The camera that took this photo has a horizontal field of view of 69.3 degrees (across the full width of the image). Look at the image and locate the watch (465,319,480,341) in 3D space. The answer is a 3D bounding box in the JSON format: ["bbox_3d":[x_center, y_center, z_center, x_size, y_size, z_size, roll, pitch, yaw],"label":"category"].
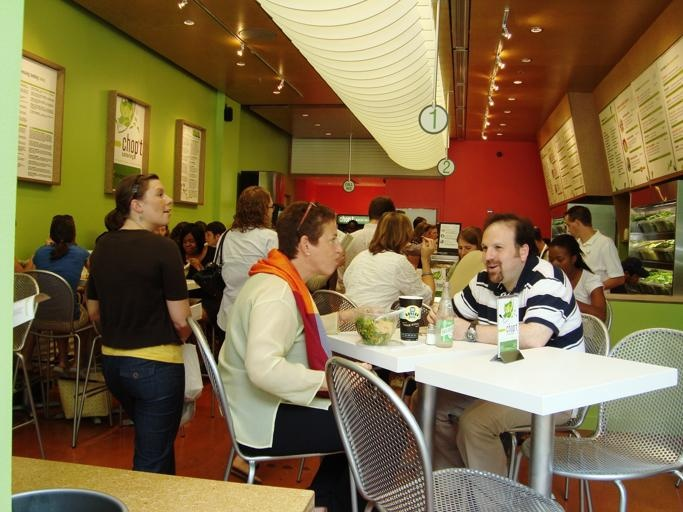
[{"bbox_3d":[0.642,0.369,2.470,0.048,0.092,0.080,6,3,7],"label":"watch"}]

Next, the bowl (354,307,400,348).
[{"bbox_3d":[0.140,0.323,2.244,0.185,0.155,0.205,10,-1,-3],"label":"bowl"}]

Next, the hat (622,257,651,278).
[{"bbox_3d":[3.576,0.132,6.016,0.272,0.183,0.206,7,12,20],"label":"hat"}]

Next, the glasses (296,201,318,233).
[{"bbox_3d":[-0.154,-0.187,2.206,0.039,0.187,0.025,23,-11,-8],"label":"glasses"}]

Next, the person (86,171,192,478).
[{"bbox_3d":[-0.945,0.316,2.381,0.502,1.435,0.369,3,3,39],"label":"person"}]

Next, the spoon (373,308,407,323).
[{"bbox_3d":[0.211,0.268,2.219,0.067,0.047,0.112,-4,-13,28],"label":"spoon"}]
